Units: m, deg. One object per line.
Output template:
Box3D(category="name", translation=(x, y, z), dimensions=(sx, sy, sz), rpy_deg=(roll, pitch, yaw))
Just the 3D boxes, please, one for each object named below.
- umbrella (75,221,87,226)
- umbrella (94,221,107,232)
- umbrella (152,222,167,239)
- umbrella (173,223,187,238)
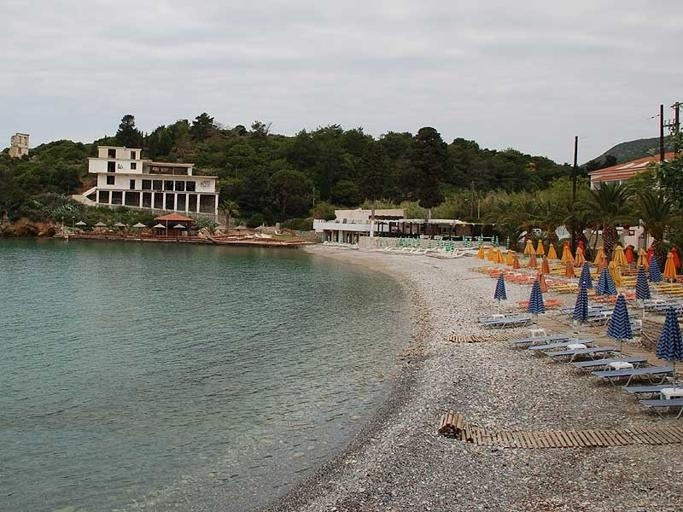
Box3D(category="umbrella", translation=(-38.231, -4.748, 87.161), dimensions=(1.294, 0.647, 1.938), rpy_deg=(-7, 5, -13))
Box3D(category="umbrella", translation=(-35.475, -4.191, 87.110), dimensions=(1.674, 1.291, 1.587), rpy_deg=(7, 11, 6))
Box3D(category="umbrella", translation=(-27.265, -3.685, 87.609), dimensions=(2.339, 1.923, 2.160), rpy_deg=(5, 5, 1))
Box3D(category="umbrella", translation=(-24.505, -3.769, 89.000), dimensions=(2.191, 1.878, 2.026), rpy_deg=(3, 2, 1))
